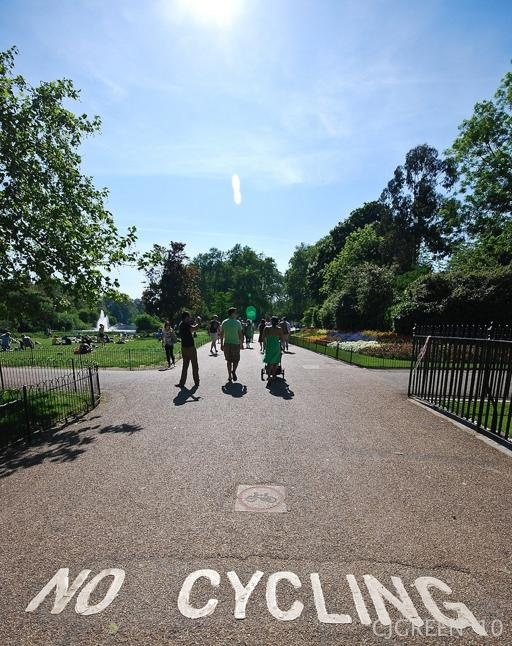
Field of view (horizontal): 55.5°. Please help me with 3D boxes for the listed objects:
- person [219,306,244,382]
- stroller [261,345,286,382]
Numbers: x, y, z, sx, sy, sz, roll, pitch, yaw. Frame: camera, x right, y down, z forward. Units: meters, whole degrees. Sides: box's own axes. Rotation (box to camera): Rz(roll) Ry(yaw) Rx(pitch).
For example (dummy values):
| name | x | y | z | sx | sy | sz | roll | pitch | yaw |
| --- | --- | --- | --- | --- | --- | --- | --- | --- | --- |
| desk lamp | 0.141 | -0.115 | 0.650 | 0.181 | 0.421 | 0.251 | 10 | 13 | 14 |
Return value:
| name | x | y | z | sx | sy | sz | roll | pitch | yaw |
| --- | --- | --- | --- | --- | --- | --- | --- | --- | --- |
| person | -0.594 | 0.549 | 12.104 | 0.555 | 1.852 | 0.438 | 0 | -3 | -1 |
| stroller | 0.396 | 0.705 | 11.819 | 0.519 | 1.454 | 0.407 | -1 | -4 | 5 |
